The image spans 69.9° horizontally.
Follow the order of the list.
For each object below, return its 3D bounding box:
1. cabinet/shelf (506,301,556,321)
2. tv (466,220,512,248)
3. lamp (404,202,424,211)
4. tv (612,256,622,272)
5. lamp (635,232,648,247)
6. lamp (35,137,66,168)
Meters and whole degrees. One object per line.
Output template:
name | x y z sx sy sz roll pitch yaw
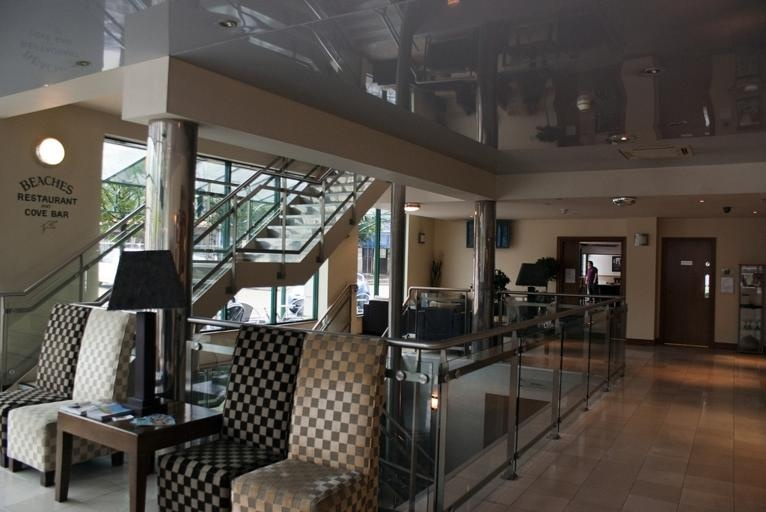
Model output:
cabinet/shelf | 2.389 0.889 8.882 0.499 0.298 0.487 1 -3 4
tv | 2.382 -0.493 11.944 0.877 0.601 0.119 0 1 14
lamp | 0.607 -1.047 11.409 0.245 0.220 0.391 1 -3 -2
tv | 6.970 0.209 16.362 0.480 0.534 0.073 1 5 38
lamp | 5.816 -0.389 12.347 0.283 0.275 0.129 7 3 30
lamp | -4.794 -1.515 7.921 0.084 0.359 0.371 4 -2 31
